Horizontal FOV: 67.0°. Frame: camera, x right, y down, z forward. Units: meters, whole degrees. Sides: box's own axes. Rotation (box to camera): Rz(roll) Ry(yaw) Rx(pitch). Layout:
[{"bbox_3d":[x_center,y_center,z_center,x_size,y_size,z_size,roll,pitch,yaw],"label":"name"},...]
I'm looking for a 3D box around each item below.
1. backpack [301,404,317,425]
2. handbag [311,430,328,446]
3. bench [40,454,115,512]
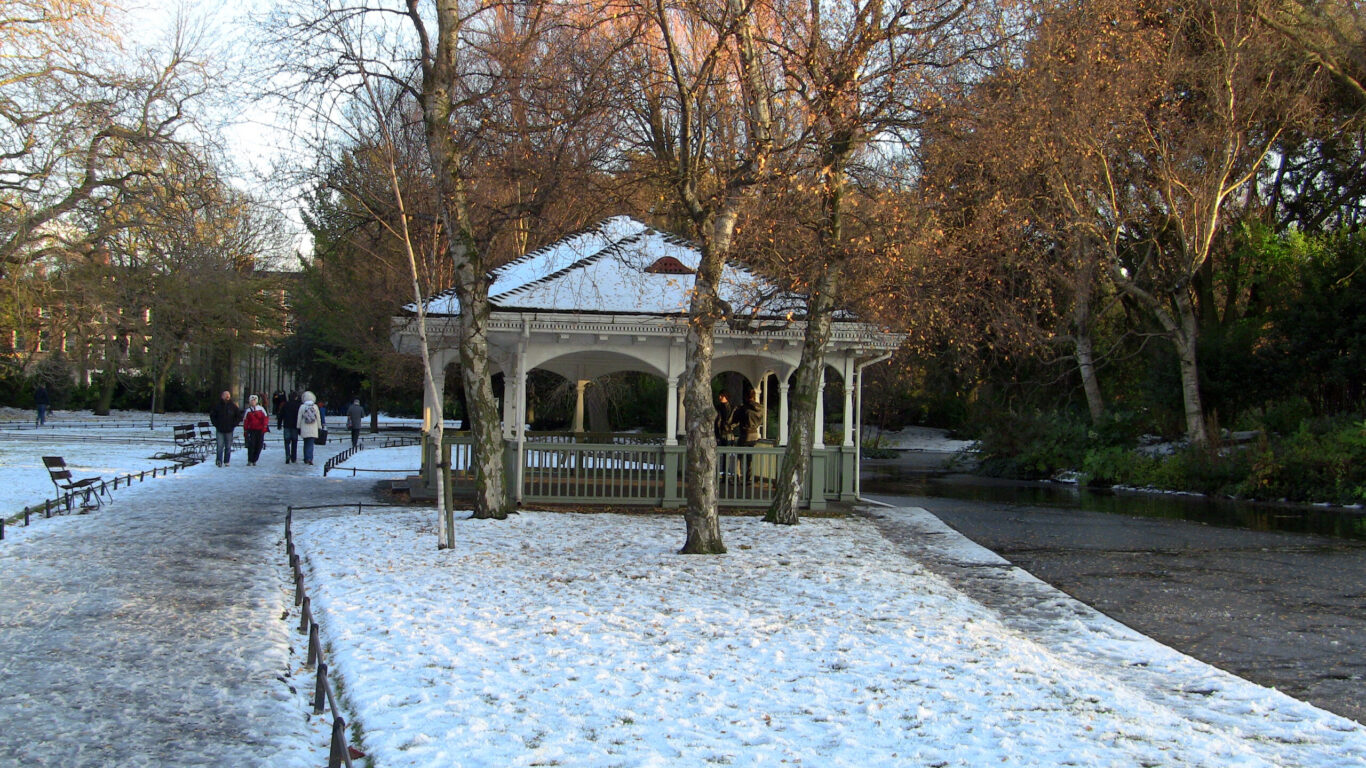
[{"bbox_3d":[-13.166,1.234,36.475,0.565,0.770,0.306,-1,-9,3],"label":"backpack"},{"bbox_3d":[-14.801,2.233,42.015,0.207,0.795,0.848,9,-5,-35],"label":"handbag"},{"bbox_3d":[-16.232,2.729,27.640,1.111,1.489,1.001,-5,7,-4],"label":"bench"}]
